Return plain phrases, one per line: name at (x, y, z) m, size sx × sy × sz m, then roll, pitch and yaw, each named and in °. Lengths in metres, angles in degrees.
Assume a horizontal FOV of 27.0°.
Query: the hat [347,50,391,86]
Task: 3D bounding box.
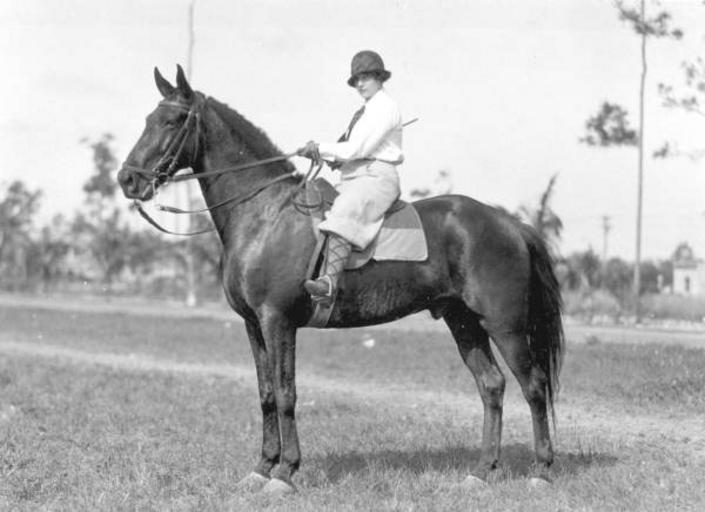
hat at (0.205, -2.715, 20.890) m, size 0.517 × 0.397 × 0.633 m, roll 10°, pitch 3°, yaw 23°
